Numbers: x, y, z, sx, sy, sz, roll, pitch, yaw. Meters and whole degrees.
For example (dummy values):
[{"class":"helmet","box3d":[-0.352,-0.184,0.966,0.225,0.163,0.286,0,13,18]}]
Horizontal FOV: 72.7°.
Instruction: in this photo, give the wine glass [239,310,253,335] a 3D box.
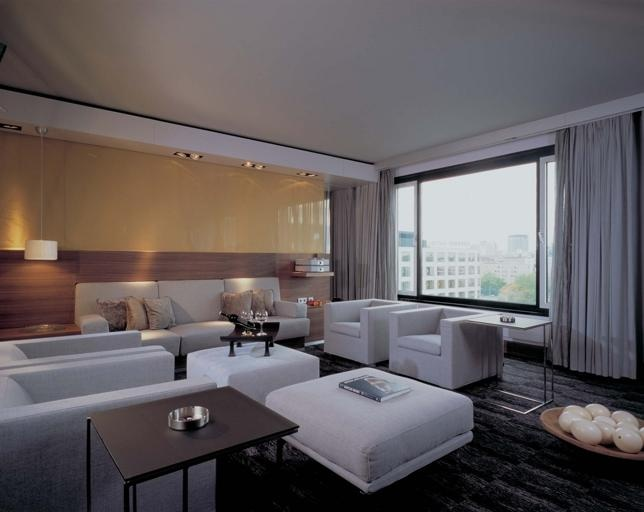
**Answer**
[{"class":"wine glass","box3d":[-0.751,0.640,4.281,0.107,0.195,0.272,-3,10,-20]}]

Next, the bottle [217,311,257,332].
[{"class":"bottle","box3d":[-0.922,0.704,4.720,0.467,0.133,0.122,25,-9,5]}]

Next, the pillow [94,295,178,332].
[{"class":"pillow","box3d":[-2.128,0.685,5.033,0.799,0.410,0.302,-4,11,-30]}]

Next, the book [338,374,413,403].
[{"class":"book","box3d":[0.384,0.962,3.265,0.466,0.053,0.370,9,12,40]}]

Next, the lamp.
[{"class":"lamp","box3d":[-3.057,-0.633,4.685,0.302,1.450,0.741,-5,11,-32]}]
